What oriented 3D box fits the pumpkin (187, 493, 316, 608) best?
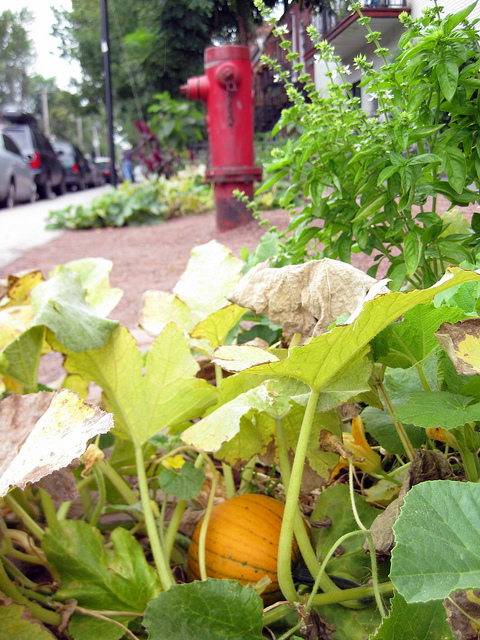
[{"bbox_3d":[0.020,0.274,0.663,0.111,0.126,0.106,-51,-11,-13],"label":"pumpkin"}]
